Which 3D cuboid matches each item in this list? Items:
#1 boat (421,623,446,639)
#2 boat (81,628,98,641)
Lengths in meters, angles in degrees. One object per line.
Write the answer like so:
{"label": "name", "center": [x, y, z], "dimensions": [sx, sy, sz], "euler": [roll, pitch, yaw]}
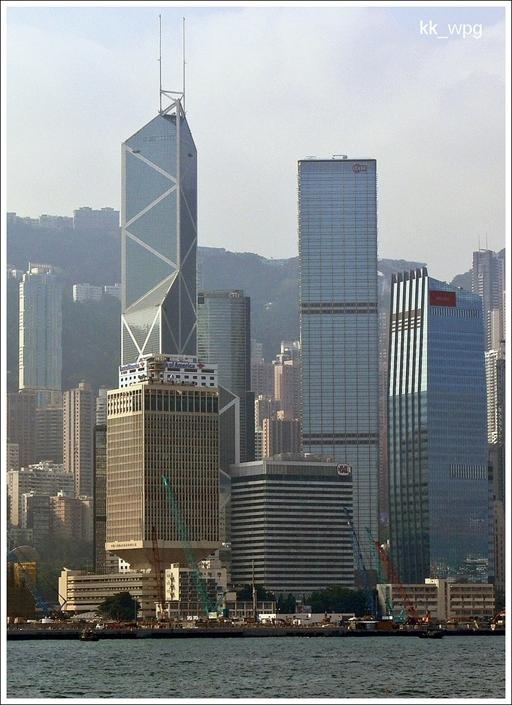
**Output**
{"label": "boat", "center": [25.808, 39.184, 281.677], "dimensions": [3.244, 0.984, 33.182], "euler": [-3, -5, 6]}
{"label": "boat", "center": [-21.970, 37.692, 266.297], "dimensions": [1.492, 1.012, 2.430], "euler": [4, 1, -5]}
